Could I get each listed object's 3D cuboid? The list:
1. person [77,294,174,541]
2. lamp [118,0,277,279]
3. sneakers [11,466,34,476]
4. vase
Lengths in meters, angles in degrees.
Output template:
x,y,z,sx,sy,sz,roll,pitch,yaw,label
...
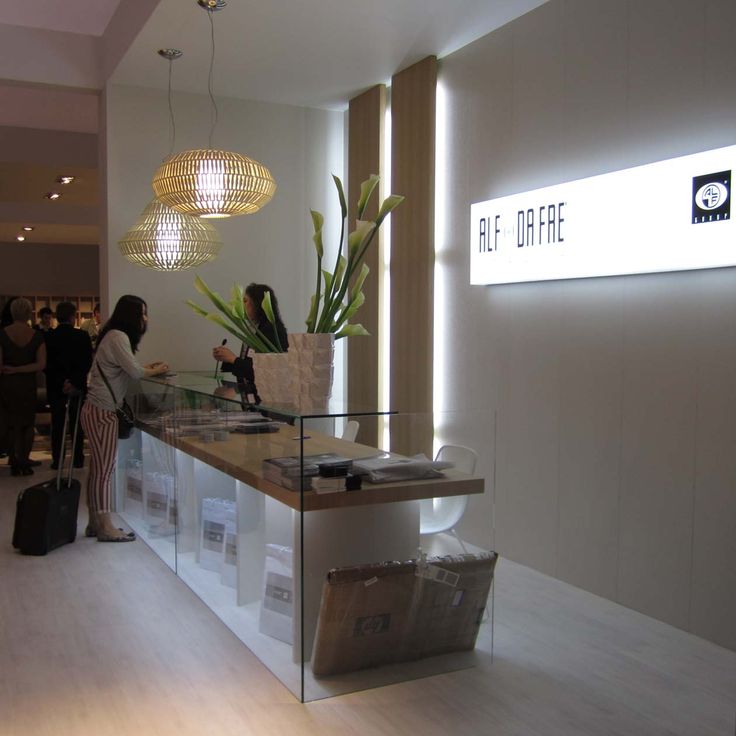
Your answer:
x,y,z,sx,sy,sz,roll,pitch,yaw,label
-1.546,0.287,3.967,0.454,1.131,0.643,-2,1,-27,person
-1.240,-1.642,4.402,0.737,1.994,1.851,-1,2,-25,lamp
-3.035,0.886,5.533,0.129,0.107,0.079,-7,11,-23,sneakers
-0.291,0.009,2.442,0.269,0.281,0.236,5,4,42,vase
